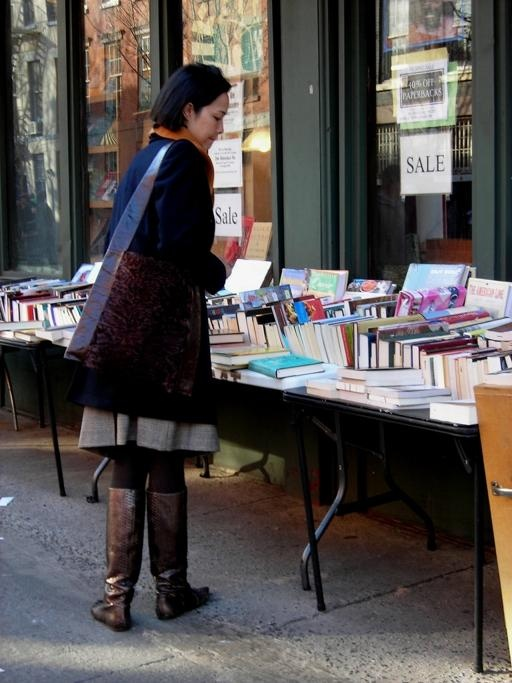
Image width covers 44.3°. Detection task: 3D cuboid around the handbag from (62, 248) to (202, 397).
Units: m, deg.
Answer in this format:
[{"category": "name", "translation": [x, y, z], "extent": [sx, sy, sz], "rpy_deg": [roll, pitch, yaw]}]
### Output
[{"category": "handbag", "translation": [-0.316, -0.036, 1.666], "extent": [0.312, 0.377, 0.194], "rpy_deg": [-1, -1, 8]}]
